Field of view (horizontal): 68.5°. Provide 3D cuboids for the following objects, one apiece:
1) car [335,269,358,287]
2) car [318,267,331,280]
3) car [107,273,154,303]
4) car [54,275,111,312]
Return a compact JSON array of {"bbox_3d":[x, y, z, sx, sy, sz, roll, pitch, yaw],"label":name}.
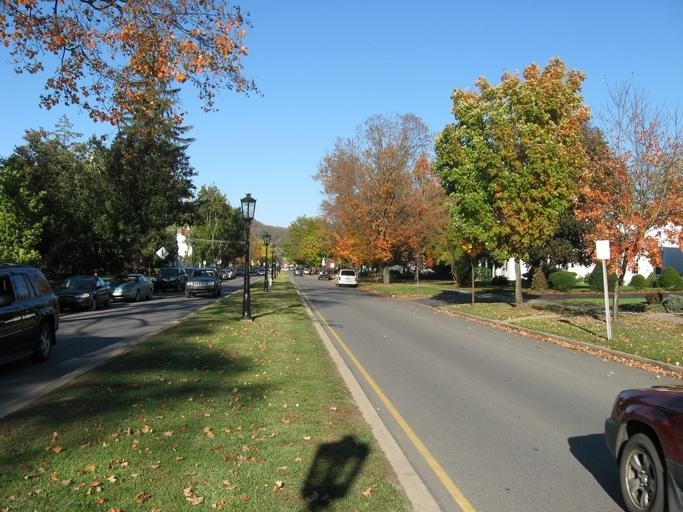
[{"bbox_3d":[0.534,2.389,52.045,1.864,1.715,2.552,0,3,-21],"label":"car"},{"bbox_3d":[-3.032,3.262,84.033,1.244,2.788,4.737,1,2,1],"label":"car"},{"bbox_3d":[-12.214,1.951,28.943,1.100,1.058,2.873,-1,-6,-2],"label":"car"},{"bbox_3d":[-12.193,1.853,23.573,1.470,1.567,2.537,1,3,0],"label":"car"}]
